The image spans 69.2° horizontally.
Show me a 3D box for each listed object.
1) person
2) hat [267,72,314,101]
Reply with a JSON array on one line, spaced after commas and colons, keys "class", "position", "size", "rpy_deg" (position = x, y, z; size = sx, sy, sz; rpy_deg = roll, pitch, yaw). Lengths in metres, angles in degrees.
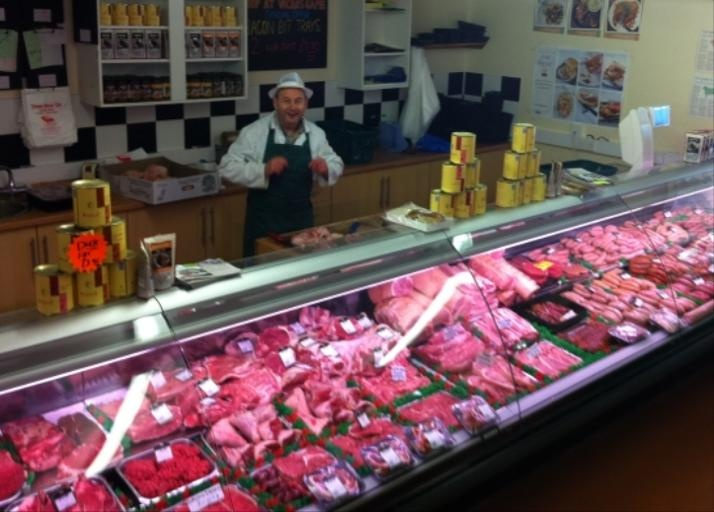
[{"class": "person", "position": [-0.572, -0.393, 4.017], "size": [0.875, 1.796, 0.749], "rpy_deg": [-10, 33, -23]}, {"class": "hat", "position": [-0.492, -1.245, 3.755], "size": [0.285, 0.169, 0.423], "rpy_deg": [-7, 24, -15]}]
